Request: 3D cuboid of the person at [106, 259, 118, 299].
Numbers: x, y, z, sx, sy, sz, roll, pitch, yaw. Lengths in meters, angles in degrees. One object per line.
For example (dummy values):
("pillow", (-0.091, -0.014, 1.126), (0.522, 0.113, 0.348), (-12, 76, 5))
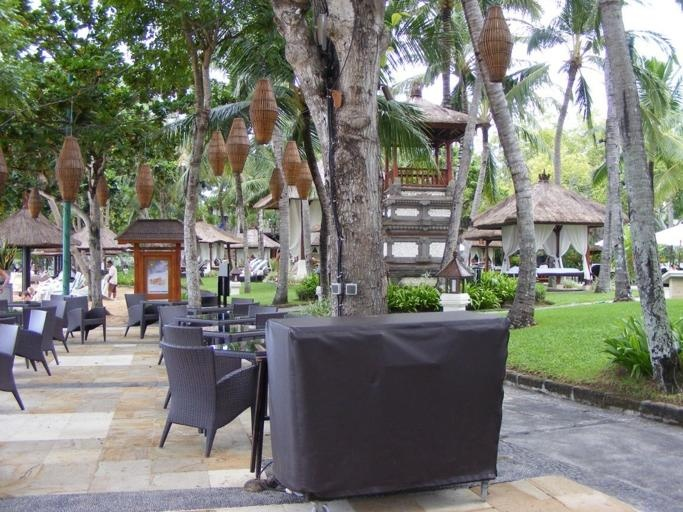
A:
("person", (-10.721, 1.207, 27.146), (0.394, 1.645, 2.232), (-3, 4, -22))
